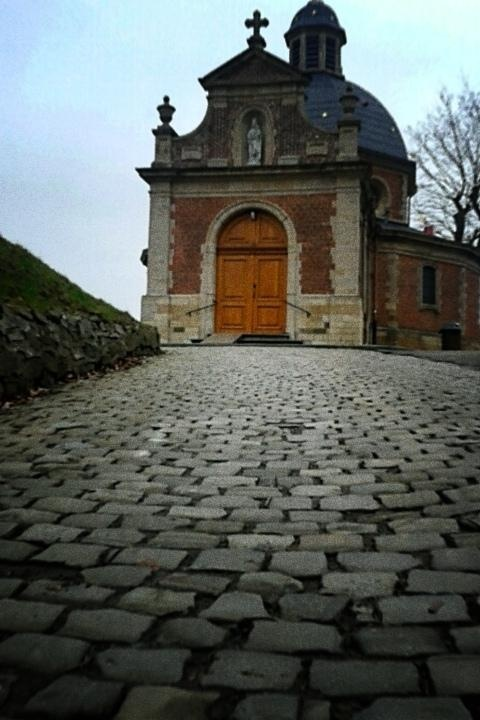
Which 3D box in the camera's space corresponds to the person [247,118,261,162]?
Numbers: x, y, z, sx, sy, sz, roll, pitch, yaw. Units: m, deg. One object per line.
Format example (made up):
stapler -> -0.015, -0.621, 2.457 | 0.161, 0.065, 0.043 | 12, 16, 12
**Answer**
person -> 0.524, -7.903, 19.430 | 0.551, 1.822, 0.633 | -1, 3, 0
